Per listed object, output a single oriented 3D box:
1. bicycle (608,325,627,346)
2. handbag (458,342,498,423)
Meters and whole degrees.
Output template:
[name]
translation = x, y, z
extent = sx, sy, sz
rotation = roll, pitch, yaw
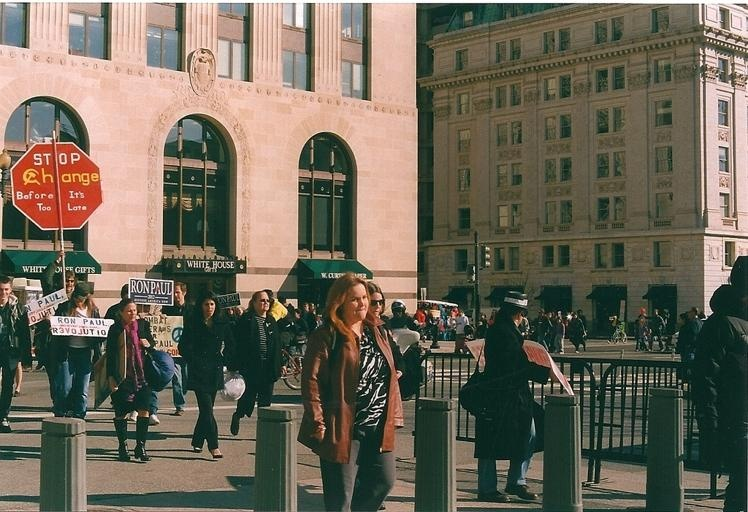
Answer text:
[bicycle]
translation = 14.107, 4.673, 85.321
extent = 0.751, 0.907, 1.524
rotation = -4, -8, 27
[handbag]
translation = 2.939, 3.787, 42.659
extent = 0.902, 2.055, 0.903
rotation = -2, 5, -5
